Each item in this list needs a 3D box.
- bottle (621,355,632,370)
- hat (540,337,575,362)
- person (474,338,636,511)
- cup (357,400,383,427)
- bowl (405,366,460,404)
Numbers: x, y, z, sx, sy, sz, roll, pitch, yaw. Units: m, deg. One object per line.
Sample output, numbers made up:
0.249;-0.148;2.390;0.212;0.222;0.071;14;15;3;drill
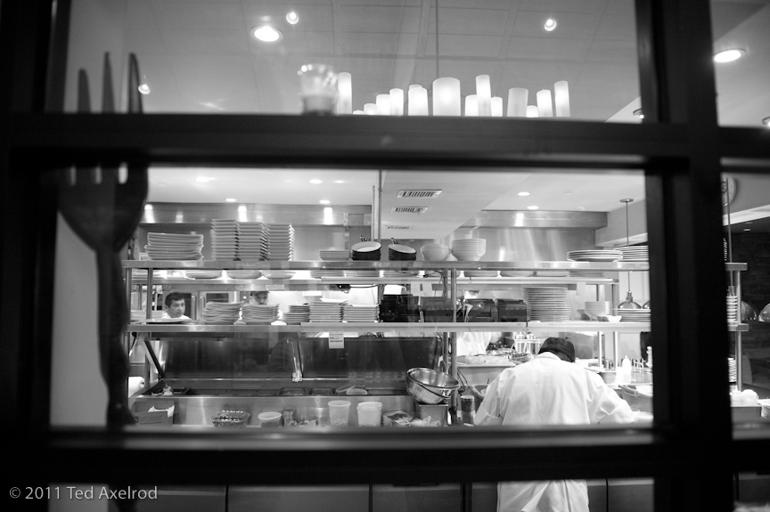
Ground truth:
1.597;0.710;5.425;0.074;0.092;0.100;0;-1;11;bottle
1.017;0.550;4.856;0.144;0.149;0.202;1;-12;30;hat
0.815;0.813;3.885;0.786;1.031;0.376;-2;-35;19;person
-0.079;0.864;4.464;0.129;0.115;0.230;0;9;1;cup
0.268;0.738;4.567;0.260;0.154;0.428;-1;9;-7;bowl
